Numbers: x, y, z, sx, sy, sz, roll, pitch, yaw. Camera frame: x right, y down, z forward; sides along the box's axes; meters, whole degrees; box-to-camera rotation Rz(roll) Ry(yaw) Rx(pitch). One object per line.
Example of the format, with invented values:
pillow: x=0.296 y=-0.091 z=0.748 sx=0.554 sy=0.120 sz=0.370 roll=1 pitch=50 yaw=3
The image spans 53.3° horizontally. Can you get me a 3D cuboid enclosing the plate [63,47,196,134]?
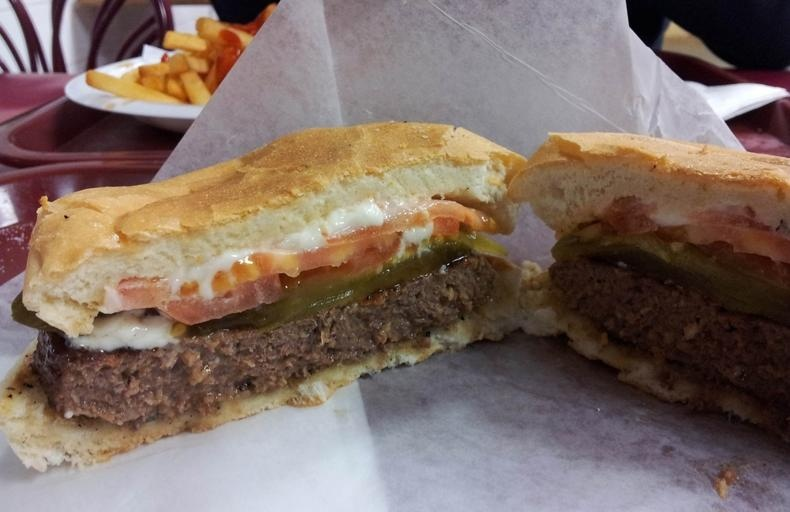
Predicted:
plate: x=-1.366 y=-0.804 z=4.207 sx=0.634 sy=0.121 sz=0.604 roll=7 pitch=23 yaw=1

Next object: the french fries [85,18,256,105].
french fries: x=-1.184 y=-1.009 z=4.211 sx=0.664 sy=0.242 sz=0.694 roll=3 pitch=27 yaw=4
